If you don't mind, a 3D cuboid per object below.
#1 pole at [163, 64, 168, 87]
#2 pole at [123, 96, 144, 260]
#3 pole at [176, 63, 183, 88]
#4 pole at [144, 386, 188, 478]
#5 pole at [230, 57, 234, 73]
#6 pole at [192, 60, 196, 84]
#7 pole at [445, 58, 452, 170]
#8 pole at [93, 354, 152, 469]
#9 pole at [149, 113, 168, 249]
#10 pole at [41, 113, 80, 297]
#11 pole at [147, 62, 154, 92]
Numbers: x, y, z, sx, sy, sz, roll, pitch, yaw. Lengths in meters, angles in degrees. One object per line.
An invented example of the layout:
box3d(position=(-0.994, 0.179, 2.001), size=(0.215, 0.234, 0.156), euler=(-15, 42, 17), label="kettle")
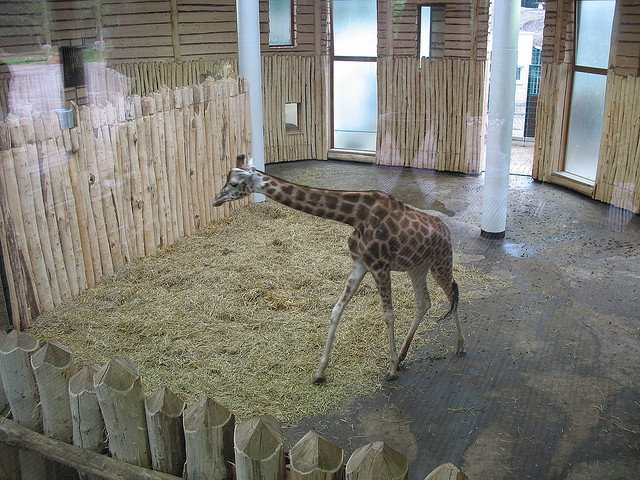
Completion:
box3d(position=(-3.114, -3.331, 9.152), size=(0.079, 0.368, 0.038), euler=(-8, 20, -25), label="pole")
box3d(position=(-2.480, -0.920, 6.253), size=(0.207, 2.159, 0.186), euler=(9, 47, -12), label="pole")
box3d(position=(-2.876, -3.374, 9.288), size=(0.059, 0.434, 0.162), euler=(14, 23, 35), label="pole")
box3d(position=(-0.727, 0.894, 2.128), size=(0.221, 0.420, 0.162), euler=(0, 18, -2), label="pole")
box3d(position=(-1.895, -3.762, 9.747), size=(0.081, 0.245, 0.307), euler=(-2, 19, -9), label="pole")
box3d(position=(-2.624, -3.500, 9.441), size=(0.085, 0.427, 0.038), euler=(-9, 21, -27), label="pole")
box3d(position=(2.619, -2.543, 9.285), size=(0.166, 2.564, 0.171), euler=(-8, -18, 40), label="pole")
box3d(position=(-0.937, 0.823, 2.167), size=(0.286, 0.528, 0.120), euler=(9, 20, 23), label="pole")
box3d(position=(-2.329, -1.148, 6.478), size=(0.127, 1.685, 0.134), euler=(-19, -27, 7), label="pole")
box3d(position=(-2.849, -0.349, 5.084), size=(0.164, 1.608, 0.169), euler=(-3, 10, 8), label="pole")
box3d(position=(-3.377, -3.240, 9.024), size=(0.109, 0.515, 0.038), euler=(-6, 19, -20), label="pole")
